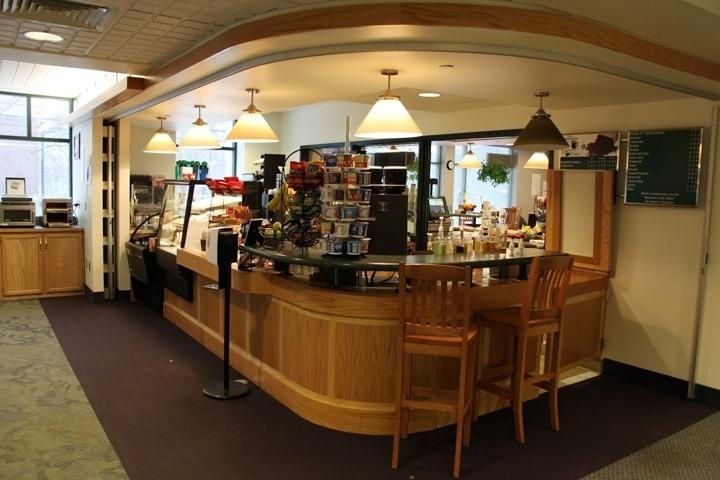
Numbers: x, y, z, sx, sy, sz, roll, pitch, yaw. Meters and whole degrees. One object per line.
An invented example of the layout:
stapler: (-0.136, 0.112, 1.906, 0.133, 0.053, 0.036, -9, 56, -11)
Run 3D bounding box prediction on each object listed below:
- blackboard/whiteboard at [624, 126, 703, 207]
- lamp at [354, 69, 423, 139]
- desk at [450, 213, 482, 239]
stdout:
blackboard/whiteboard: (3.249, -0.789, 5.384, 0.948, 1.040, 0.091, 5, 4, 44)
lamp: (0.182, -1.219, 4.607, 0.691, 0.572, 0.645, 0, 2, -8)
desk: (1.706, -0.249, 8.216, 0.425, 0.287, 0.660, 1, 2, 38)
